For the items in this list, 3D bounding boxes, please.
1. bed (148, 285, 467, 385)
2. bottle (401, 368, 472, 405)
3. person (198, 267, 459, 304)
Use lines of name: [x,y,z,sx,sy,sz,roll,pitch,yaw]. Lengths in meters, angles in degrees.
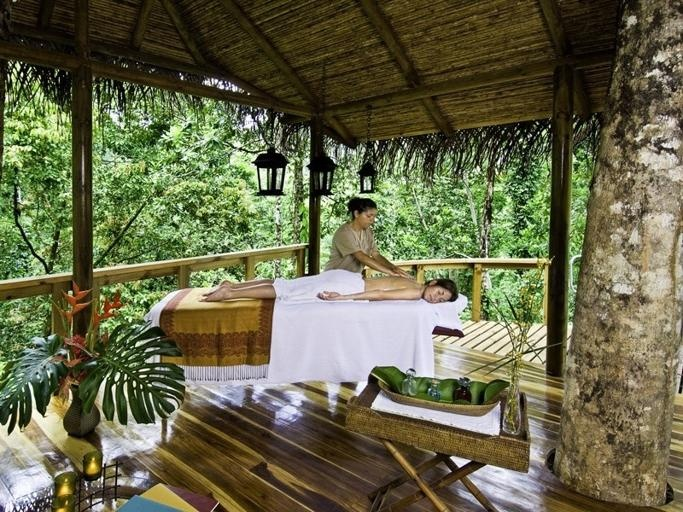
bed: [-0.222,0.403,3.319,1.312,0.375,0.782,1,0,1]
bottle: [0.462,0.606,2.447,0.259,0.111,0.166,4,-1,13]
person: [-0.099,0.224,3.987,1.264,0.234,0.471,0,3,-1]
